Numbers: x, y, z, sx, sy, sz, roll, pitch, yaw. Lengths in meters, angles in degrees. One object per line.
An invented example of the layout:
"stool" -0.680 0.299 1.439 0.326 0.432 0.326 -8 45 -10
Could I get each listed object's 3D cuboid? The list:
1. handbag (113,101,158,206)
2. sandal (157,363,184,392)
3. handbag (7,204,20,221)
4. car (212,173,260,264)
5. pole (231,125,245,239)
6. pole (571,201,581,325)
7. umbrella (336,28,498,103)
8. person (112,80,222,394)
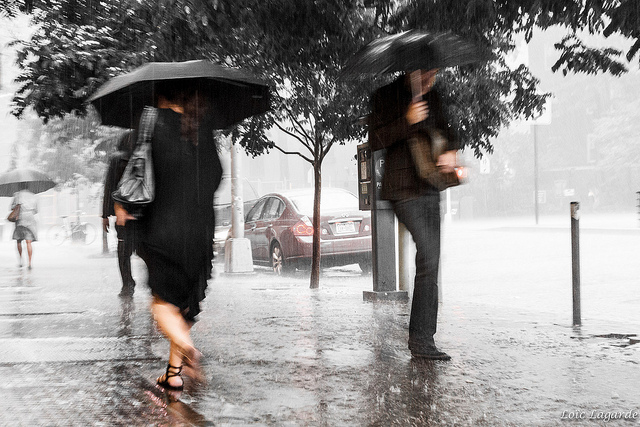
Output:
"handbag" -1.427 -0.437 4.128 0.320 0.759 0.106 0 -2 -16
"sandal" -1.233 1.319 4.263 0.095 0.172 0.282 11 -5 -40
"handbag" -8.853 0.009 15.446 0.122 0.427 0.313 31 -33 0
"car" -3.046 0.081 17.615 2.197 2.094 5.440 0 0 -4
"pole" -2.054 -0.522 13.045 0.279 2.319 0.561 0 -2 -11
"pole" 3.037 0.605 6.345 0.102 1.474 0.290 -2 -2 25
"umbrella" 1.049 -1.281 5.311 1.021 0.681 1.022 -5 2 -33
"person" -1.121 0.164 4.298 0.660 2.512 0.280 0 -2 -22
